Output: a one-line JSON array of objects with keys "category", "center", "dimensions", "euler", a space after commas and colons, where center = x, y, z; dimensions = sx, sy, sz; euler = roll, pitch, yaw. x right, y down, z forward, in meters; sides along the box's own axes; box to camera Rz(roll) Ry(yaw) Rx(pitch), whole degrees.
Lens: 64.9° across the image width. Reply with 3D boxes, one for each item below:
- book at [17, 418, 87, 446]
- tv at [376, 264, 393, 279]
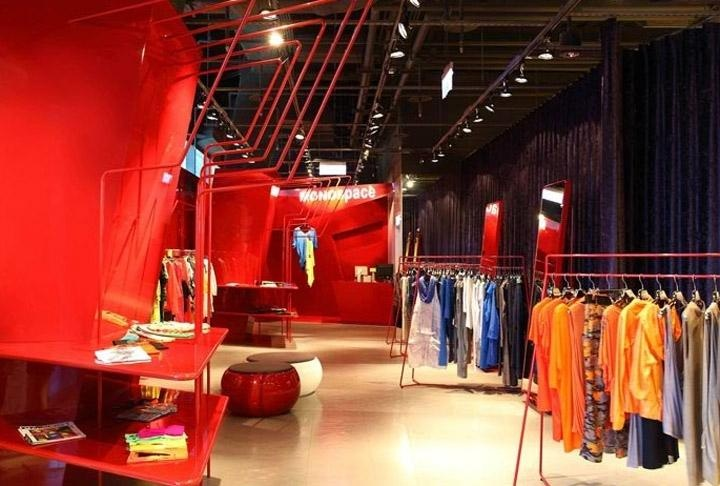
[{"category": "book", "center": [-1.940, 1.203, 3.602], "dimensions": [0.332, 0.068, 0.334], "euler": [0, 1, -44]}, {"category": "tv", "center": [0.577, 0.679, 13.084], "dimensions": [0.522, 0.457, 0.267], "euler": [0, -4, 4]}]
